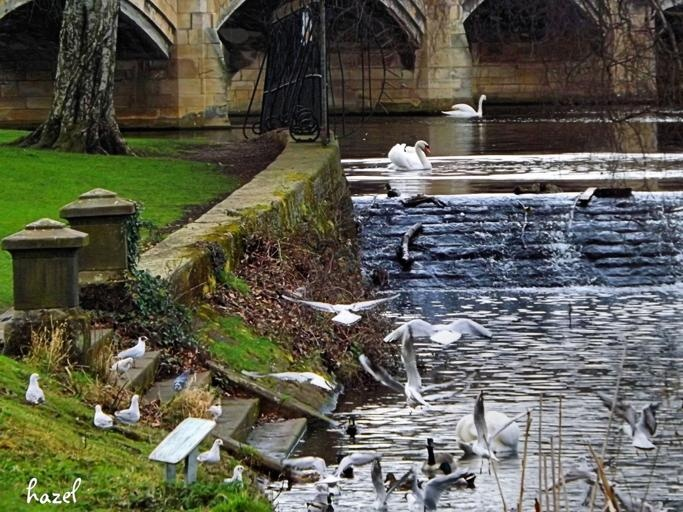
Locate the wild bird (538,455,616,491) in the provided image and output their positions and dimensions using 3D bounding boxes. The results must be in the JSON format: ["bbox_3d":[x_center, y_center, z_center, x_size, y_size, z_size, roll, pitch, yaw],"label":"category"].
[{"bbox_3d":[2.051,1.898,10.754,0.457,0.209,0.395,4,24,24],"label":"wild bird"}]

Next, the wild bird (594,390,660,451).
[{"bbox_3d":[2.870,1.602,12.051,0.624,0.454,0.518,-6,9,4],"label":"wild bird"}]

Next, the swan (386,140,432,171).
[{"bbox_3d":[1.416,-2.023,26.508,0.603,0.603,0.834,-14,26,-40],"label":"swan"}]

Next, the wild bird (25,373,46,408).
[{"bbox_3d":[-2.794,1.195,11.377,0.172,0.301,0.257,-2,12,-14],"label":"wild bird"}]
